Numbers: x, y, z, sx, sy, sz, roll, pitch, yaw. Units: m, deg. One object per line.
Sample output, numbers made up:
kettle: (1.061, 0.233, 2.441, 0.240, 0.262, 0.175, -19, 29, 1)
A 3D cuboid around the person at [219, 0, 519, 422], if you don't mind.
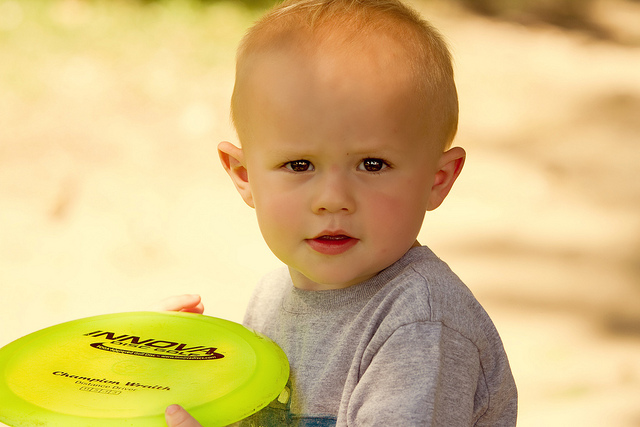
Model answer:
person: (0.099, 0.000, 1.835, 0.669, 1.033, 0.589, -5, 15, -7)
